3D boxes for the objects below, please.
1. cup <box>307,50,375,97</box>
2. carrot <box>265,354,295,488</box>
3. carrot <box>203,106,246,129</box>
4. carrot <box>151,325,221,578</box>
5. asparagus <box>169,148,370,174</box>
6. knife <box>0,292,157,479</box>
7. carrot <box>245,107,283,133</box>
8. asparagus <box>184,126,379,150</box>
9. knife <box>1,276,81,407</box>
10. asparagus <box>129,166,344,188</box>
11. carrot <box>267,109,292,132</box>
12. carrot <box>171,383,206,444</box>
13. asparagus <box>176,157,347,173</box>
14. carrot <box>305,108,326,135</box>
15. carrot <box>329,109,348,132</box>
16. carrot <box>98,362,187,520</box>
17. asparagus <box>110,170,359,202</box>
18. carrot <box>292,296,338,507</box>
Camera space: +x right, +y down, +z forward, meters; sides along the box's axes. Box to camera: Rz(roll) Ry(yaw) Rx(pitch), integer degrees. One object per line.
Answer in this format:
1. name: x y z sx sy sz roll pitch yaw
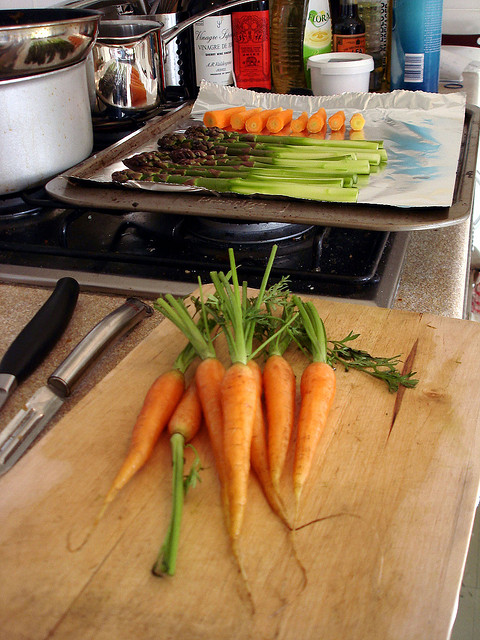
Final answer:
1. cup: 0.292 -0.699 1.432 0.154 0.092 0.155 -2 28 1
2. carrot: 0.037 0.088 0.459 0.022 0.020 0.108 -33 42 38
3. carrot: -0.041 -0.563 1.357 0.049 0.053 0.148 15 32 33
4. carrot: -0.047 0.122 0.402 0.064 0.084 0.060 -13 45 -22
5. asparagus: 0.070 -0.341 1.058 0.431 0.076 0.068 5 17 3
6. knife: -0.174 0.065 0.584 0.051 0.035 0.259 29 43 5
7. carrot: 0.066 -0.546 1.343 0.048 0.047 0.201 18 38 29
8. asparagus: 0.110 -0.458 1.233 0.470 0.063 0.050 9 47 21
9. knife: -0.239 0.024 0.625 0.035 0.023 0.203 21 36 -2
10. asparagus: -0.011 -0.276 0.948 0.202 0.016 0.156 0 22 10
11. carrot: 0.110 -0.543 1.329 0.037 0.033 0.118 -8 26 27
12. carrot: -0.052 0.088 0.461 0.016 0.015 0.060 15 29 -9
13. asparagus: 0.050 -0.331 1.047 0.148 0.012 0.108 -4 23 3
14. carrot: 0.201 -0.528 1.299 0.035 0.030 0.084 4 43 25
15. carrot: 0.256 -0.522 1.292 0.036 0.031 0.082 7 27 14
16. carrot: -0.081 0.105 0.444 0.026 0.025 0.144 18 45 12
17. asparagus: -0.010 -0.240 0.883 0.399 0.035 0.033 10 52 16
18. carrot: 0.074 0.066 0.476 0.036 0.033 0.236 -12 40 23
